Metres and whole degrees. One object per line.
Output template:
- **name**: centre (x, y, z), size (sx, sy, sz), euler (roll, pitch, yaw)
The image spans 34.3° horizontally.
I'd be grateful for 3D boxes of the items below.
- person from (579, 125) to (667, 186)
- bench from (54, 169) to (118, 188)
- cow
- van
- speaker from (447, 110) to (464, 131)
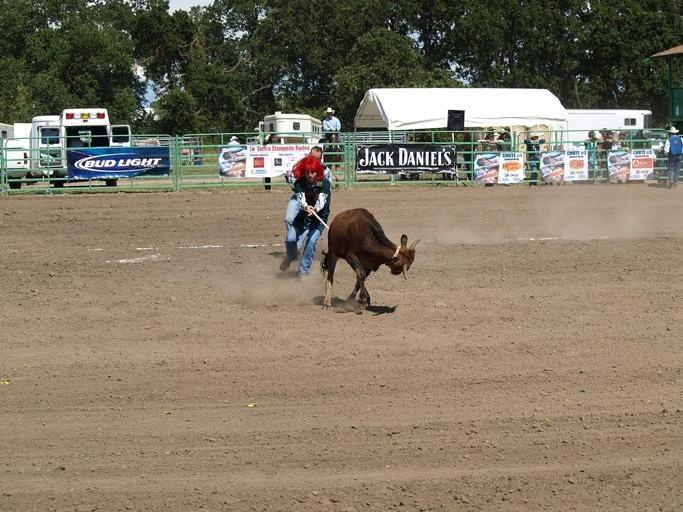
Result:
- **person**: centre (9.285, -3.203, 36.297), size (2.441, 1.321, 0.927), euler (-1, 0, -14)
- **bench**: centre (-8.451, -2.397, 34.886), size (1.799, 0.554, 2.770), euler (-5, 4, -42)
- **cow**: centre (0.405, 0.062, 19.768), size (1.802, 1.800, 0.645), euler (0, 4, 41)
- **van**: centre (-9.160, -3.860, 35.795), size (3.502, 2.198, 4.418), euler (0, -2, -22)
- **speaker**: centre (3.993, -4.811, 38.833), size (0.753, 0.560, 0.993), euler (0, 30, 4)
